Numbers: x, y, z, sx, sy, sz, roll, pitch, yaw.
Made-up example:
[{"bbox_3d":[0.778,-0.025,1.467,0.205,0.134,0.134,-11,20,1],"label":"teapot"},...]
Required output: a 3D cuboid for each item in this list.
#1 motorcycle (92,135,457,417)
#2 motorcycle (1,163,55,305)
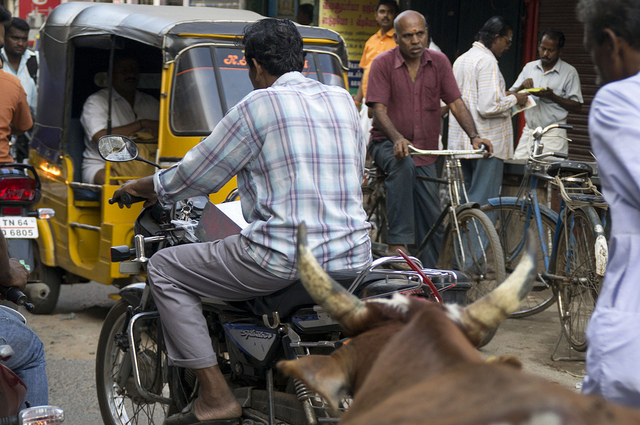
[{"bbox_3d":[-0.415,0.571,5.180,1.552,1.600,2.559,-5,9,-38],"label":"motorcycle"},{"bbox_3d":[-2.510,0.242,6.596,0.393,1.494,1.145,0,12,-19],"label":"motorcycle"}]
